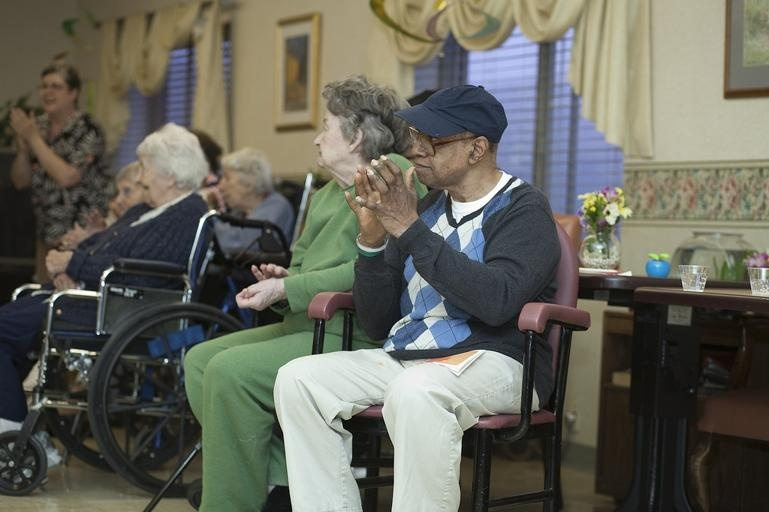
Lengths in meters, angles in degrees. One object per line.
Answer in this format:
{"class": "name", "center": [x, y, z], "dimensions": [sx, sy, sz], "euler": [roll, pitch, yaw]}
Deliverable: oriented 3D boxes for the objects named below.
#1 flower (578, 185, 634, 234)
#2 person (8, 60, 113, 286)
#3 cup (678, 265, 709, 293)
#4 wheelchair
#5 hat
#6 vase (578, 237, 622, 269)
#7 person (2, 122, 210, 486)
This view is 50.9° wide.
{"class": "flower", "center": [1.048, -0.230, 3.853], "dimensions": [0.201, 0.212, 0.152], "euler": [-2, -4, 0]}
{"class": "person", "center": [-1.988, -0.331, 5.017], "dimensions": [0.480, 1.678, 0.578], "euler": [3, 24, -5]}
{"class": "cup", "center": [1.303, 0.094, 3.380], "dimensions": [0.100, 0.098, 0.117], "euler": [0, -7, 15]}
{"class": "wheelchair", "center": [-1.304, 0.578, 4.521], "dimensions": [1.271, 1.660, 1.068], "euler": [7, -6, -19]}
{"class": "hat", "center": [0.283, -0.573, 3.266], "dimensions": [0.448, 0.240, 0.337], "euler": [7, 12, -2]}
{"class": "vase", "center": [1.025, -0.017, 3.833], "dimensions": [0.148, 0.163, 0.151], "euler": [3, -7, 5]}
{"class": "person", "center": [-1.505, 0.098, 4.916], "dimensions": [1.501, 2.078, 1.120], "euler": [5, -6, -24]}
